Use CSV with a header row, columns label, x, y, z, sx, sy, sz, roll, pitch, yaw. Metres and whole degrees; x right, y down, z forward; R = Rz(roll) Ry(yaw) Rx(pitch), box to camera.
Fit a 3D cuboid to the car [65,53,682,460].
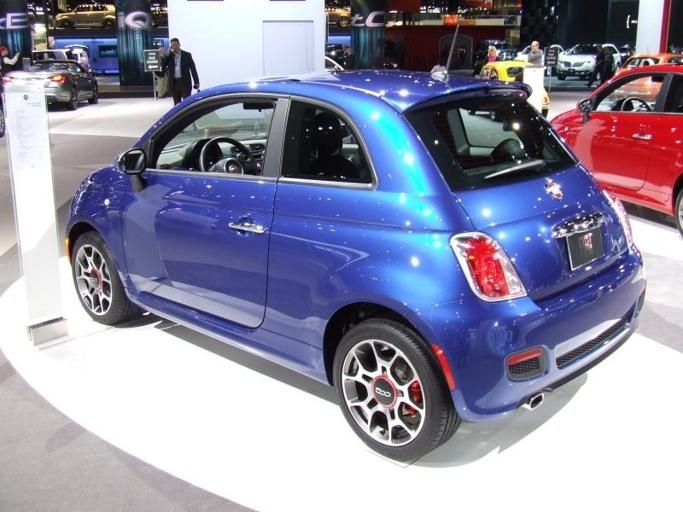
label,x,y,z,sx,sy,sz,roll,pitch,yaw
car,-0.202,-0.037,3.388,3.838,1.840,2.254,15,21,38
